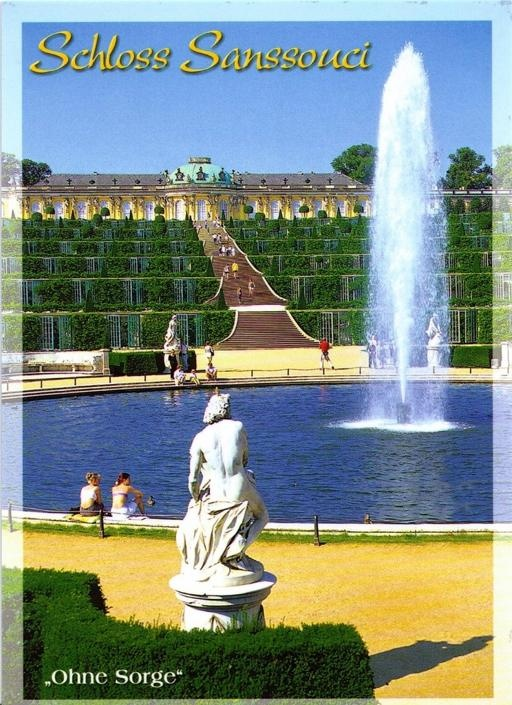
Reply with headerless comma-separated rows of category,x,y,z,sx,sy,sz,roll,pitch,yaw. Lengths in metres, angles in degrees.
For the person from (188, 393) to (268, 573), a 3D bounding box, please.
person,-0.264,1.069,13.710,0.664,1.596,0.589,-11,17,-23
